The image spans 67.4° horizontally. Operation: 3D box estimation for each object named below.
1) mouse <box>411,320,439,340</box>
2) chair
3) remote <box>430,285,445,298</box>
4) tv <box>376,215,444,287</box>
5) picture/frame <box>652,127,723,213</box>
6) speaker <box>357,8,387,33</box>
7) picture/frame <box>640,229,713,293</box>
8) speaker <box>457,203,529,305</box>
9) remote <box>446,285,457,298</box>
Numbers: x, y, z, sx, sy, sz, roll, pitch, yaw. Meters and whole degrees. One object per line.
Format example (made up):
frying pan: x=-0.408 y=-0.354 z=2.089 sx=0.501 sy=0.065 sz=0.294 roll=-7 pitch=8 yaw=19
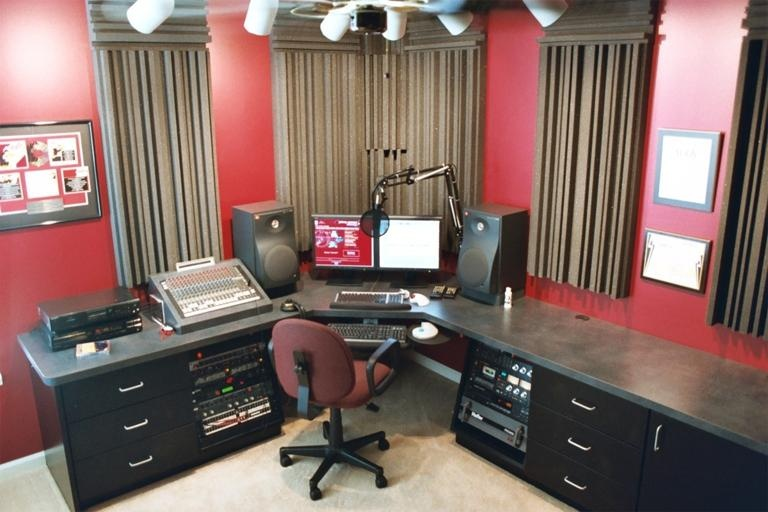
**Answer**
mouse: x=0.297 y=0.517 z=4.196 sx=0.136 sy=0.056 sz=0.135 roll=9 pitch=20 yaw=27
chair: x=-0.334 y=0.947 z=4.018 sx=0.889 sy=1.197 sz=0.817 roll=10 pitch=17 yaw=41
remote: x=0.424 y=0.267 z=4.440 sx=0.066 sy=0.024 sz=0.118 roll=1 pitch=26 yaw=11
tv: x=0.208 y=-0.058 z=4.539 sx=0.558 sy=0.569 sz=0.186 roll=1 pitch=11 yaw=4
picture/frame: x=1.896 y=-0.542 z=3.566 sx=0.067 sy=0.569 sz=0.470 roll=-9 pitch=17 yaw=-43
speaker: x=-0.056 y=-0.960 z=2.367 sx=0.094 sy=0.069 sz=0.093 roll=2 pitch=11 yaw=8
picture/frame: x=1.884 y=0.020 z=3.676 sx=0.357 sy=0.328 sz=0.037 roll=18 pitch=22 yaw=42
speaker: x=0.793 y=-0.014 z=4.373 sx=0.370 sy=0.664 sz=0.390 roll=-12 pitch=20 yaw=-43
remote: x=0.518 y=0.276 z=4.415 sx=0.065 sy=0.028 sz=0.119 roll=3 pitch=28 yaw=9
